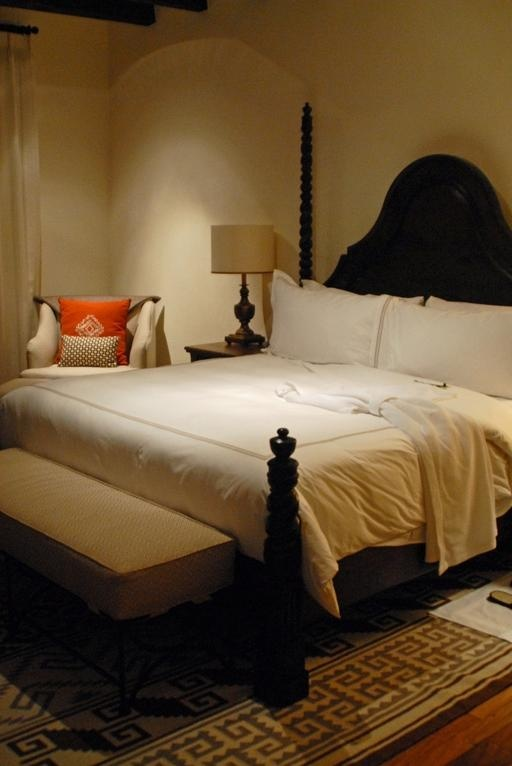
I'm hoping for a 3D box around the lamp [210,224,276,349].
[{"bbox_3d":[-0.072,-0.599,3.832,0.373,0.795,0.464,0,1,7],"label":"lamp"}]

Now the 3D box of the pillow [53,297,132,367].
[{"bbox_3d":[-1.088,-0.323,4.021,0.491,0.179,0.482,-2,57,-1],"label":"pillow"}]

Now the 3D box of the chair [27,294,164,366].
[{"bbox_3d":[-1.147,-0.273,4.326,1.027,0.692,0.515,0,5,-2],"label":"chair"}]
